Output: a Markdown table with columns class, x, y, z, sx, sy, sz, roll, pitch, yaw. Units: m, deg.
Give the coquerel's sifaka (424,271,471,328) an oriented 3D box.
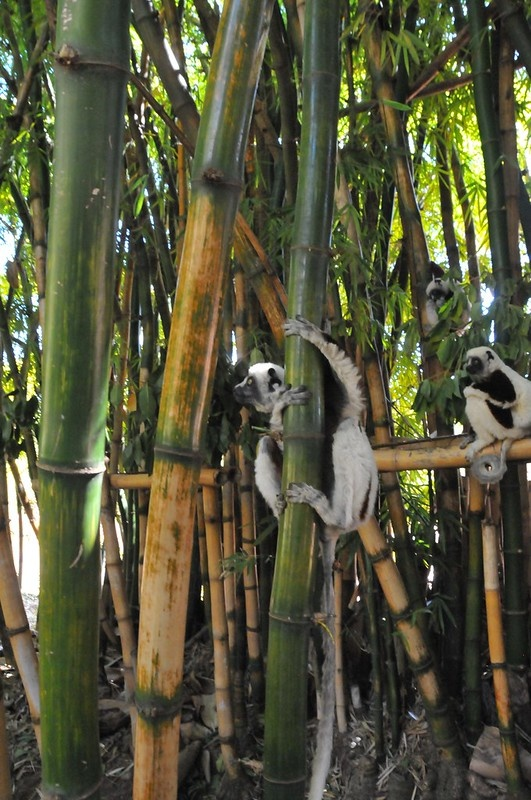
| class | x | y | z | sx | sy | sz | roll | pitch | yaw |
| --- | --- | --- | --- | --- | --- | --- | --- | --- | --- |
| coquerel's sifaka | 0.536 | -0.298 | 2.399 | 0.069 | 0.203 | 0.200 | -14 | 21 | 16 |
